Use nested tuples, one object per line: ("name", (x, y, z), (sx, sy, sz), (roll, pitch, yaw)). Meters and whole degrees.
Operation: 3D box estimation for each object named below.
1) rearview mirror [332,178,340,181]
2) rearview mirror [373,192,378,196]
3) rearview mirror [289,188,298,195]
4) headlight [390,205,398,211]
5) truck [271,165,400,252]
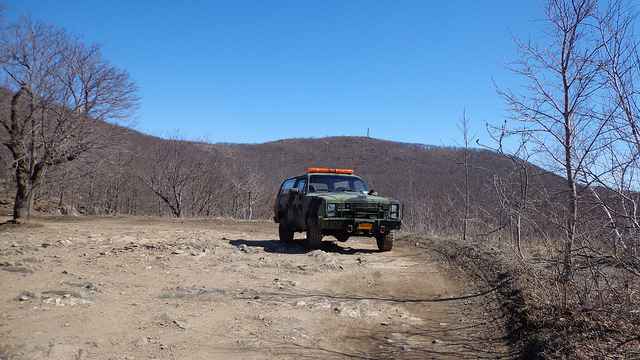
("rearview mirror", (0.631, 0.004, 18.608), (0.300, 0.127, 0.065), (6, -8, -15))
("rearview mirror", (2.225, 0.609, 18.359), (0.188, 0.166, 0.532), (3, -8, 5))
("rearview mirror", (-1.086, 0.490, 18.333), (0.344, 0.215, 0.238), (1, -5, -4))
("headlight", (2.785, 1.078, 17.222), (0.302, 0.225, 0.052), (7, -8, -22))
("truck", (0.172, 1.365, 19.299), (3.259, 2.582, 5.747), (2, -6, -22))
